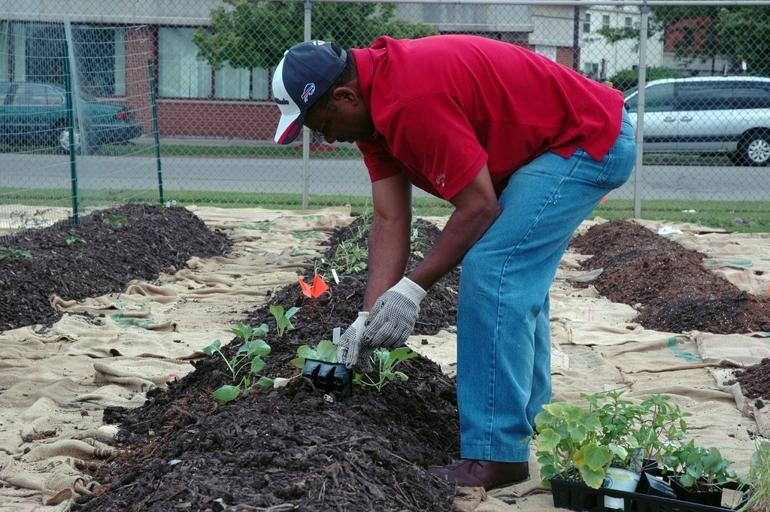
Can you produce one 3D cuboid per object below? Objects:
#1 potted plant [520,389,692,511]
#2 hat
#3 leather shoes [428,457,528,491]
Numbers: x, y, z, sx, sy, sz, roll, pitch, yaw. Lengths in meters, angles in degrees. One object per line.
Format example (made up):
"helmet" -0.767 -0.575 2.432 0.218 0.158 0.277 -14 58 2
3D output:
"potted plant" 1.279 1.052 4.917 0.836 0.449 0.766 -7 12 -26
"hat" -0.439 -0.974 4.930 0.448 0.609 0.205 1 12 1
"leather shoes" 0.594 1.328 5.098 0.618 0.190 0.203 4 0 -10
